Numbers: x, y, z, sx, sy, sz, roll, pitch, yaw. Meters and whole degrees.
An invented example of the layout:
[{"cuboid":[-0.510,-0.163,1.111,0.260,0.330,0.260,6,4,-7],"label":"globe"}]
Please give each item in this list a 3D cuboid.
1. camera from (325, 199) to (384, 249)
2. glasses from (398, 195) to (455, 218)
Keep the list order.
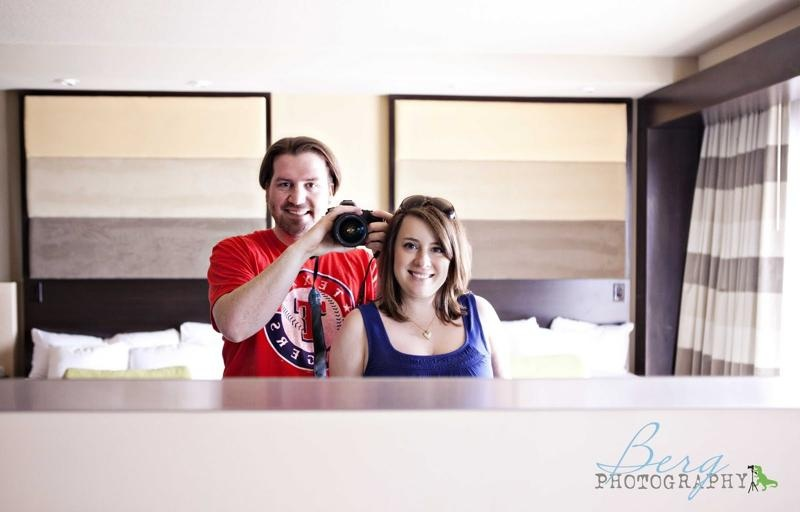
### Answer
[{"cuboid":[-0.119,-0.050,1.457,0.138,0.076,0.108,-2,-11,8],"label":"camera"},{"cuboid":[0.058,-0.107,1.436,0.116,0.036,0.057,1,-1,14],"label":"glasses"}]
